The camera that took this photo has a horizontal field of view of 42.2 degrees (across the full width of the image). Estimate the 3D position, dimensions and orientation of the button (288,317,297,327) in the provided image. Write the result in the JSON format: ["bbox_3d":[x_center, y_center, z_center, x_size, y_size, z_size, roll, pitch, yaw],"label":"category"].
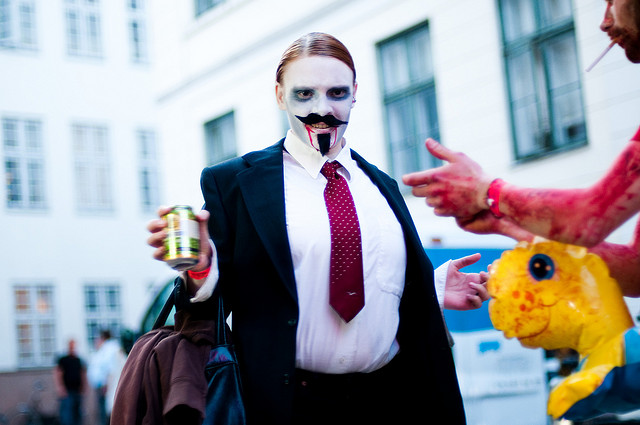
[{"bbox_3d":[-0.180,0.706,5.328,0.059,0.061,0.013,-5,-6,-12],"label":"button"}]

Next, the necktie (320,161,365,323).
[{"bbox_3d":[0.141,0.180,5.509,0.245,1.064,0.172,-7,-6,1],"label":"necktie"}]

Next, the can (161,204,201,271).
[{"bbox_3d":[-0.897,0.156,5.284,0.206,0.420,0.176,-11,-7,33],"label":"can"}]

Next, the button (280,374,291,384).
[{"bbox_3d":[-0.221,1.061,5.280,0.060,0.054,0.094,10,-25,-11],"label":"button"}]
